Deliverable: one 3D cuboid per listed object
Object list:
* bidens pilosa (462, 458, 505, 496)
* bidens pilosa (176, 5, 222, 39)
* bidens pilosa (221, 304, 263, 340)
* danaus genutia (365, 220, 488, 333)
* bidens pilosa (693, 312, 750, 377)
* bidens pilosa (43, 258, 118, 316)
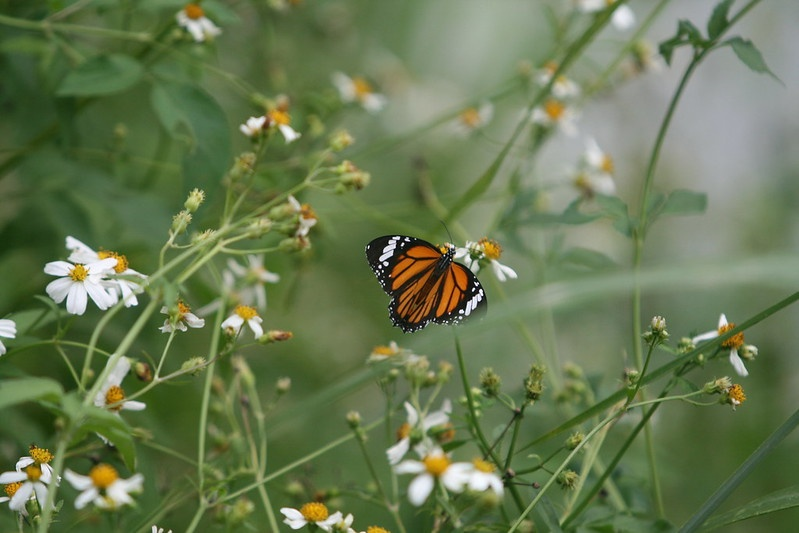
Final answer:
[{"bbox_3d":[0.187,0.468,1.945,0.075,0.072,0.033,26,-74,-41],"label":"bidens pilosa"},{"bbox_3d":[-0.525,-0.614,2.297,0.026,0.089,0.093,-6,-66,47],"label":"bidens pilosa"},{"bbox_3d":[-0.381,0.129,2.139,0.083,0.086,0.054,23,-66,36],"label":"bidens pilosa"},{"bbox_3d":[0.069,0.030,2.419,0.301,0.423,0.260,-7,-65,7],"label":"danaus genutia"},{"bbox_3d":[0.786,0.189,2.101,0.085,0.149,0.202,1,-98,-5],"label":"bidens pilosa"},{"bbox_3d":[-0.737,0.041,2.040,0.139,0.045,0.159,5,-96,17],"label":"bidens pilosa"}]
